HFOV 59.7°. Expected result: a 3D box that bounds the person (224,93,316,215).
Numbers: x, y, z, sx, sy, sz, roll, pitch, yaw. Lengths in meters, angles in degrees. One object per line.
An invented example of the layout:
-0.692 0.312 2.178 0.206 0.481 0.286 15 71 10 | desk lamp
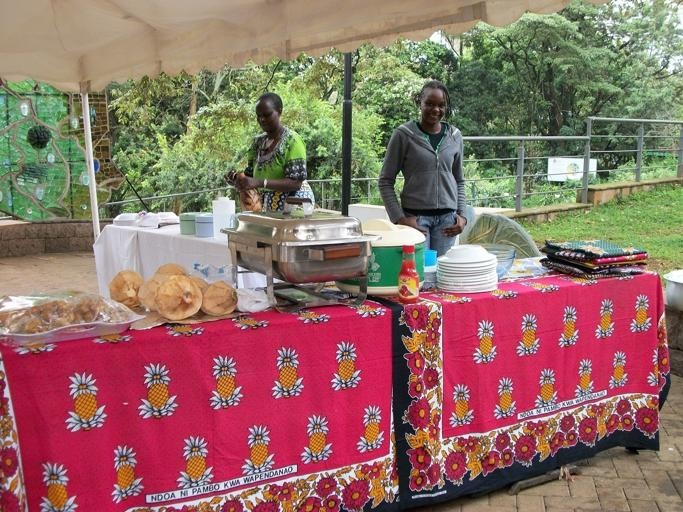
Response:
-0.494 -0.735 4.162 0.544 0.818 0.634 -2 10 -3 | person

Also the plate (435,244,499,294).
0.609 0.064 2.837 0.239 0.146 0.237 -10 10 -41 | plate

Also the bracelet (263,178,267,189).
-0.521 -0.495 4.092 0.015 0.048 0.035 6 -1 28 | bracelet

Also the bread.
-0.714 0.153 2.458 0.301 0.102 0.306 10 1 4 | bread

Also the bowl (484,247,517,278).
0.847 0.028 3.155 0.144 0.114 0.157 1 7 0 | bowl
